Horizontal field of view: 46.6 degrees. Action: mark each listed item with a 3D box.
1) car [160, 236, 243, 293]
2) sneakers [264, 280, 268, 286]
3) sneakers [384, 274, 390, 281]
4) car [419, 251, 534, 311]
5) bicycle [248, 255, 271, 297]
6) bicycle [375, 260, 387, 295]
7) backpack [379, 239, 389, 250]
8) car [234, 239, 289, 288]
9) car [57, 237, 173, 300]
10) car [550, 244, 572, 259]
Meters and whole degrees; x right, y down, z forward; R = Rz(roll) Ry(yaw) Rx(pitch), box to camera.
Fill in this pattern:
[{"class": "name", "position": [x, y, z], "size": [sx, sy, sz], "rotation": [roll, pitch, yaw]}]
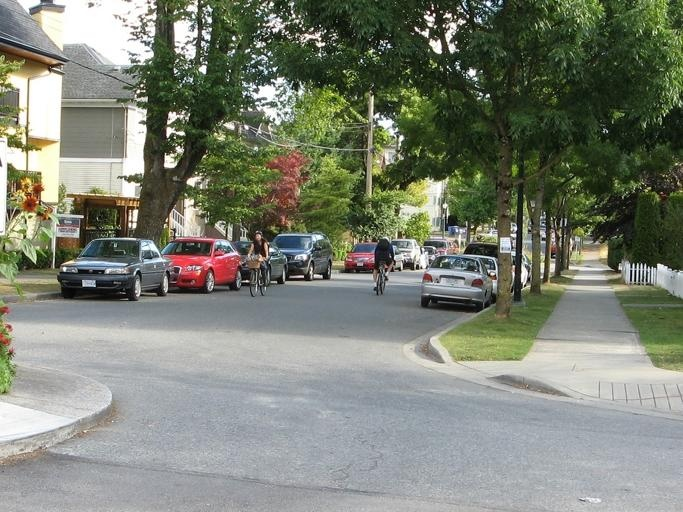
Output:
[{"class": "car", "position": [-4.449, 0.310, 25.693], "size": [1.187, 0.978, 2.688], "rotation": [-1, -5, 14]}, {"class": "sneakers", "position": [-2.416, 0.840, 25.120], "size": [0.165, 0.165, 0.169], "rotation": [1, -3, -1]}, {"class": "sneakers", "position": [1.690, 0.812, 29.982], "size": [0.175, 0.304, 0.300], "rotation": [-3, -9, 13]}, {"class": "car", "position": [3.997, 0.780, 23.389], "size": [1.594, 1.204, 3.576], "rotation": [2, 4, 14]}, {"class": "bicycle", "position": [-2.628, 0.620, 24.540], "size": [0.520, 1.214, 1.402], "rotation": [3, -1, 2]}, {"class": "bicycle", "position": [1.304, 0.755, 27.030], "size": [0.361, 1.034, 1.113], "rotation": [3, -1, 4]}, {"class": "backpack", "position": [1.416, -0.381, 26.908], "size": [0.280, 0.332, 0.323], "rotation": [3, 9, 2]}, {"class": "car", "position": [-2.868, 0.303, 30.098], "size": [1.123, 1.001, 2.544], "rotation": [0, -4, 10]}, {"class": "car", "position": [-6.338, 0.325, 22.102], "size": [1.949, 1.772, 2.834], "rotation": [2, -1, 13]}, {"class": "car", "position": [15.284, -0.317, 55.464], "size": [1.402, 1.201, 3.182], "rotation": [1, 7, 14]}]
